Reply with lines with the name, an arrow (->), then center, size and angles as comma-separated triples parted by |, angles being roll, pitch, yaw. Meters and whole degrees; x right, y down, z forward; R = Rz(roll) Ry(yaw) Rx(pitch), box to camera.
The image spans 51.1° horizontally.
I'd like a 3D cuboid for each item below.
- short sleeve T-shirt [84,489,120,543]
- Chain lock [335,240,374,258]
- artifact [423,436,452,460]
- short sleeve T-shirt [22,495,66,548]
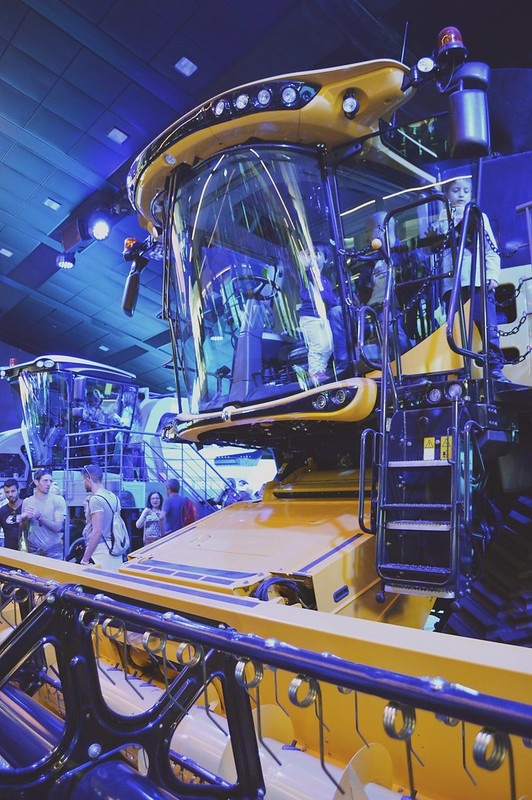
short sleeve T-shirt -> -1.497, 1.072, 5.093 | 0.268, 0.428, 0.457 | -9, -10, 6
Chain lock -> 0.555, -0.933, 3.479 | 0.196, 0.092, 0.263 | 1, 4, 13
artifact -> 0.768, 0.216, 2.498 | 0.077, 0.100, 0.206 | -10, 5, -17
short sleeve T-shirt -> -2.159, 1.210, 5.403 | 0.432, 0.545, 0.284 | 0, 0, -15
